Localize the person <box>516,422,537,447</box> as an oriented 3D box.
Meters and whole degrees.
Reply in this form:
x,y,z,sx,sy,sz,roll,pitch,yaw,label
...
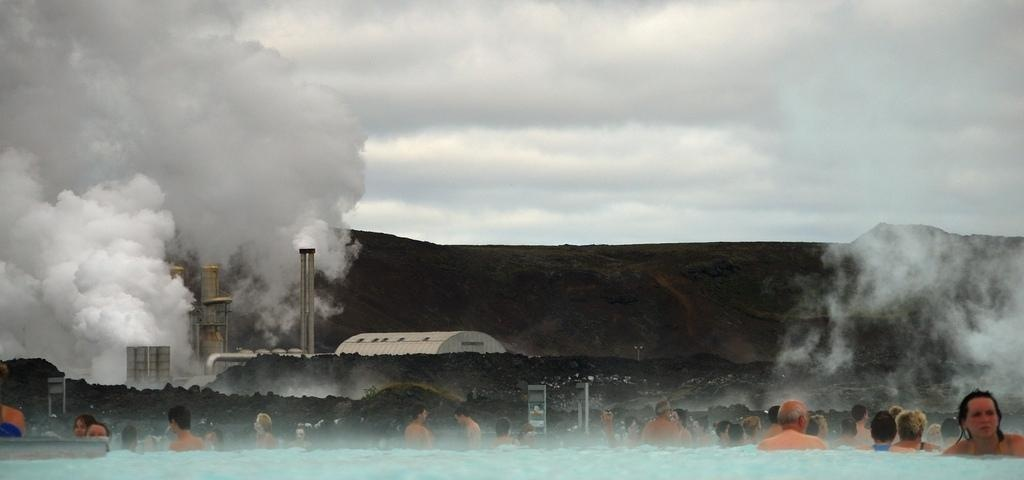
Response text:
x,y,z,sx,sy,sz,roll,pitch,yaw,label
1.274,17.910,163.916,1.567,2.024,0.931,1,-15,-7,person

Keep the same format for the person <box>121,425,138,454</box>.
x,y,z,sx,sy,sz,roll,pitch,yaw,label
-34.420,17.975,161.869,1.370,2.302,0.813,1,-15,-6,person
